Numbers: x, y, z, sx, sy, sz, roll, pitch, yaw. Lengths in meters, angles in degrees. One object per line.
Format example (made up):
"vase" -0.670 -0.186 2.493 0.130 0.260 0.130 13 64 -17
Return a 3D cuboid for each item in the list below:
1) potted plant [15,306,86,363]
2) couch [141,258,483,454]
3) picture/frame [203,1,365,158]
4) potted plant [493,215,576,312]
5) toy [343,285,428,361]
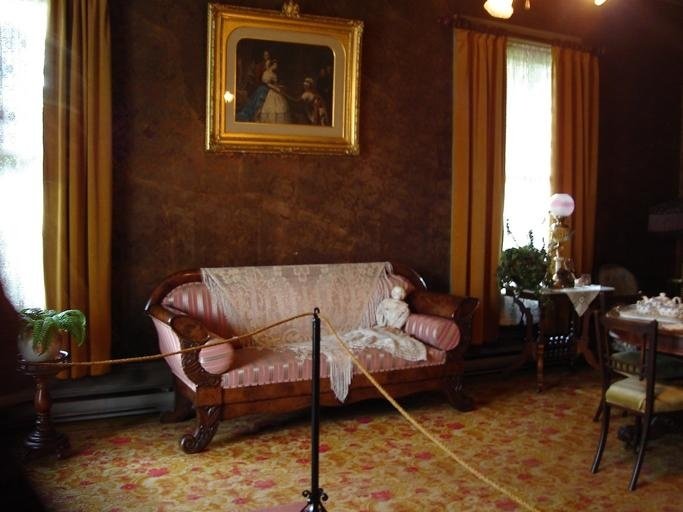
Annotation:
"potted plant" -1.970 0.525 3.707 0.488 0.331 0.441 9 -10 -17
"couch" -0.178 0.718 4.414 2.431 1.242 0.902 -1 5 -26
"picture/frame" -0.550 -1.518 4.757 1.347 1.330 0.100 0 9 -18
"potted plant" 1.731 0.084 5.291 0.756 1.119 0.772 4 -4 -2
"toy" 0.396 0.606 4.399 0.602 0.410 0.487 10 9 22
